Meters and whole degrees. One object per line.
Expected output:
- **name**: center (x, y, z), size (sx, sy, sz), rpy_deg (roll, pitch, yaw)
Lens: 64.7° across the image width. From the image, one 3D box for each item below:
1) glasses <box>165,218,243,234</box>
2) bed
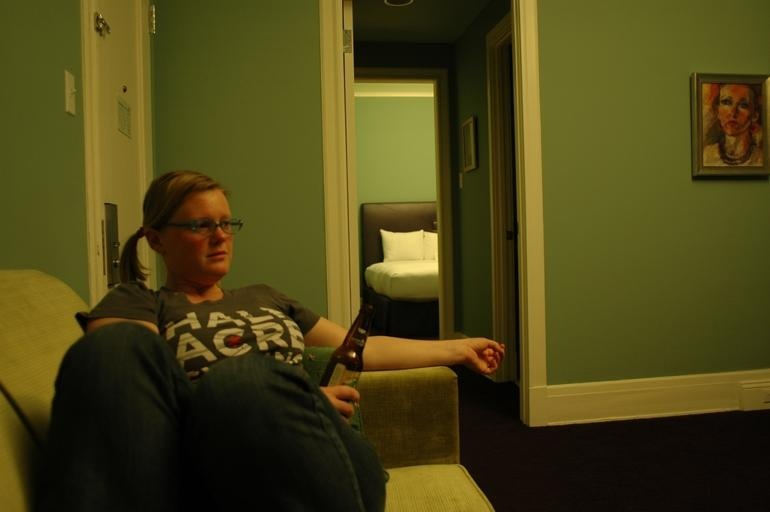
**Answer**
- **glasses**: center (-0.650, -0.107, 2.158), size (0.115, 0.032, 0.116), rpy_deg (-9, -6, 39)
- **bed**: center (0.318, 0.102, 6.525), size (0.849, 1.087, 1.435), rpy_deg (0, -2, -6)
